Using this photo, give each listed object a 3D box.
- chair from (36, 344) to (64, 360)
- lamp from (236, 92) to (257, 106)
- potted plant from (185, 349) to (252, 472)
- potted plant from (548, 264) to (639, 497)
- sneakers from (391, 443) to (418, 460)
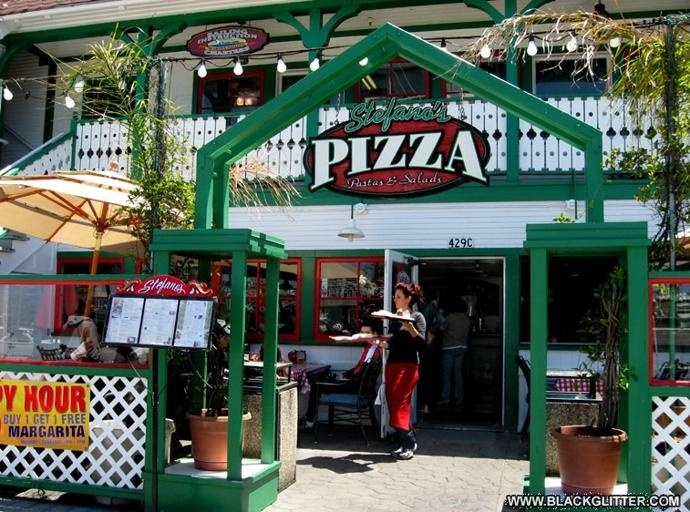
[{"bbox_3d":[-3.160,1.026,8.622,0.233,0.105,0.154,0,6,1],"label":"chair"},{"bbox_3d":[-1.833,-2.859,14.765,0.290,0.267,0.070,1,-3,16],"label":"lamp"},{"bbox_3d":[-1.441,1.599,8.451,0.406,1.239,0.756,2,-3,-10],"label":"potted plant"},{"bbox_3d":[2.456,1.189,8.007,0.672,2.189,0.857,0,-3,20],"label":"potted plant"},{"bbox_3d":[0.749,2.496,10.277,0.131,0.151,0.364,-9,-20,34],"label":"sneakers"}]
